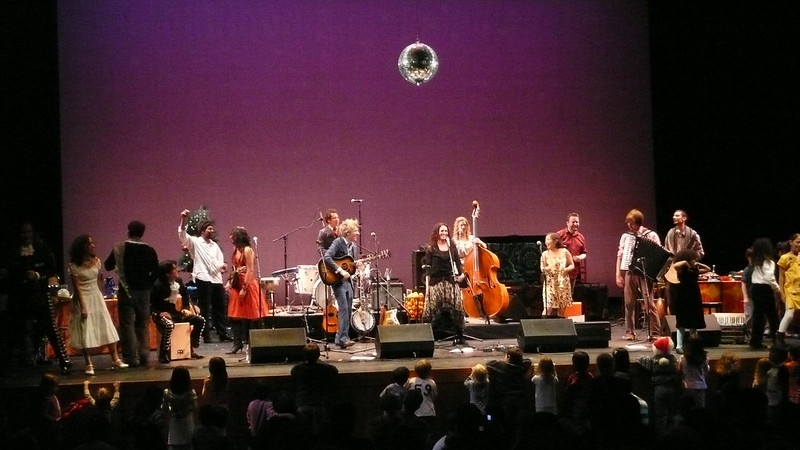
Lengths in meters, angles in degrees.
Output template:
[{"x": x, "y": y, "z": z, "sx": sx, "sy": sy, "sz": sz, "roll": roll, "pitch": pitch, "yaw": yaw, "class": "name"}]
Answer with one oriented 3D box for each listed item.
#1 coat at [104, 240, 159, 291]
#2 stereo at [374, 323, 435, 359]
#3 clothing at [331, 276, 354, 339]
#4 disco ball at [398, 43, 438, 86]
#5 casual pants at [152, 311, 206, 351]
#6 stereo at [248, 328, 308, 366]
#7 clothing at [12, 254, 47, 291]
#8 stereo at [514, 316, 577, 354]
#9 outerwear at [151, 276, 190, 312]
[{"x": -4.549, "y": 0.688, "z": 11.814, "sx": 1.096, "sy": 1.178, "sz": 0.782, "roll": 0, "pitch": 1, "yaw": -14, "class": "coat"}, {"x": 0.054, "y": 2.012, "z": 11.758, "sx": 0.986, "sy": 0.540, "sz": 0.565, "roll": 1, "pitch": 2, "yaw": -17, "class": "stereo"}, {"x": -1.036, "y": 1.572, "z": 12.469, "sx": 0.432, "sy": 1.017, "sz": 0.151, "roll": -5, "pitch": 9, "yaw": -25, "class": "clothing"}, {"x": 0.429, "y": -3.686, "z": 15.235, "sx": 0.789, "sy": 0.869, "sz": 0.771, "roll": 15, "pitch": 17, "yaw": -5, "class": "disco ball"}, {"x": -3.940, "y": 1.881, "z": 12.033, "sx": 0.721, "sy": 0.694, "sz": 0.698, "roll": 0, "pitch": -7, "yaw": -18, "class": "casual pants"}, {"x": -2.126, "y": 2.071, "z": 11.592, "sx": 1.007, "sy": 0.533, "sz": 0.705, "roll": 1, "pitch": -11, "yaw": -22, "class": "stereo"}, {"x": -6.221, "y": 0.792, "z": 11.193, "sx": 0.454, "sy": 0.597, "sz": 0.180, "roll": 0, "pitch": -5, "yaw": -27, "class": "clothing"}, {"x": 2.619, "y": 1.987, "z": 12.018, "sx": 1.004, "sy": 0.571, "sz": 0.559, "roll": 1, "pitch": 1, "yaw": -9, "class": "stereo"}, {"x": -4.157, "y": 1.290, "z": 12.246, "sx": 0.534, "sy": 0.850, "sz": 0.777, "roll": -1, "pitch": 0, "yaw": 19, "class": "outerwear"}]
